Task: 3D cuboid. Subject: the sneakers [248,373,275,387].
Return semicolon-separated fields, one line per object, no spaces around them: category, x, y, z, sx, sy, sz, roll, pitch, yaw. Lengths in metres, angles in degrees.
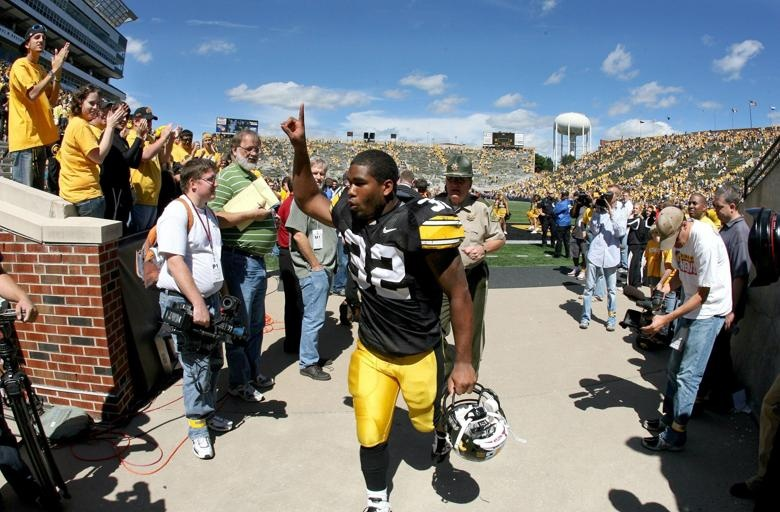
sneakers;-1.647;1.598;6.288;0.261;0.109;0.123;6;11;-8

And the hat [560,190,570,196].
hat;5.256;-1.879;14.668;0.227;0.206;0.207;12;7;21

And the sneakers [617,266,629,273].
sneakers;6.041;0.354;12.639;0.187;0.180;0.419;3;6;23

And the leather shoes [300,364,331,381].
leather shoes;-0.993;1.547;6.574;0.420;0.186;0.180;1;7;10

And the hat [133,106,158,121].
hat;-3.666;-2.092;7.204;0.257;0.181;0.204;-3;7;-29

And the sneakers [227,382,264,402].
sneakers;-1.760;1.654;6.049;0.479;0.206;0.186;9;20;15

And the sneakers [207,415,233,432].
sneakers;-1.919;1.885;5.515;0.333;0.141;0.119;1;12;0

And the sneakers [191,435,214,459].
sneakers;-1.976;1.999;5.128;0.220;0.226;0.132;-1;6;-16

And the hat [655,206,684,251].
hat;3.049;-0.300;5.318;0.275;0.472;0.263;1;-33;49

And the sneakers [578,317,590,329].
sneakers;3.390;1.167;8.478;0.163;0.170;0.286;3;6;22

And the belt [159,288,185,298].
belt;-2.267;0.379;5.036;0.281;0.105;0.065;2;6;13

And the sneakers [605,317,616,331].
sneakers;3.846;1.153;8.465;0.148;0.227;0.343;3;6;25

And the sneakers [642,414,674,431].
sneakers;3.097;1.923;5.655;0.347;0.135;0.128;-3;27;7

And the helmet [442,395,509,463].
helmet;0.774;1.618;4.691;0.503;0.394;0.583;5;20;-16
